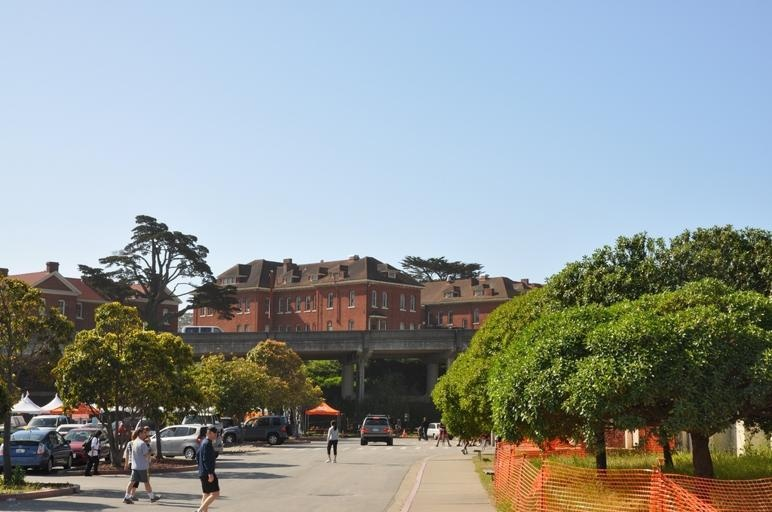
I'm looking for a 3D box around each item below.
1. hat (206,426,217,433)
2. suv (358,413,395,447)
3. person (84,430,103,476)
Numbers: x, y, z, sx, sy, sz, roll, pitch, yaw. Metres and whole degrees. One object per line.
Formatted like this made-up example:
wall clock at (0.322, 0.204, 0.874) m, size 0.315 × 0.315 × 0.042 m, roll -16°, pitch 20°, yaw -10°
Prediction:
hat at (-4.951, 4.940, 26.830) m, size 0.206 × 0.221 × 0.550 m, roll 4°, pitch -14°, yaw -14°
suv at (-0.592, 12.135, 65.468) m, size 1.965 × 2.155 × 2.881 m, roll 0°, pitch -13°, yaw 2°
person at (-11.895, 8.089, 38.337) m, size 0.503 × 1.678 × 1.250 m, roll 5°, pitch -13°, yaw -17°
